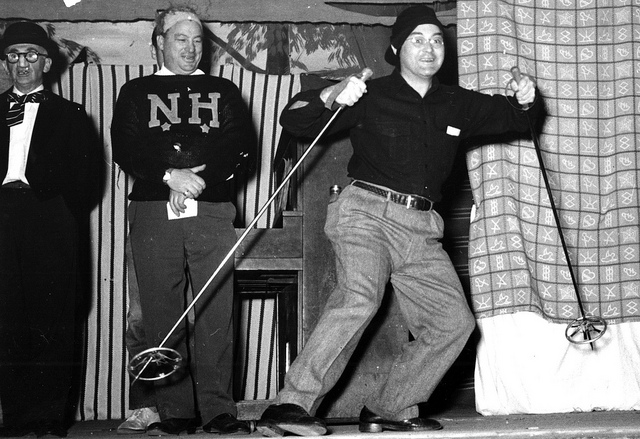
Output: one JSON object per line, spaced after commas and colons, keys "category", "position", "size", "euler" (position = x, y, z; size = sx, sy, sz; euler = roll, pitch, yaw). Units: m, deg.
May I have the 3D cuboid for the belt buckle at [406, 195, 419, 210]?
{"category": "belt buckle", "position": [0.492, -0.087, 4.296], "size": [0.058, 0.058, 0.064], "euler": [4, -4, -13]}
